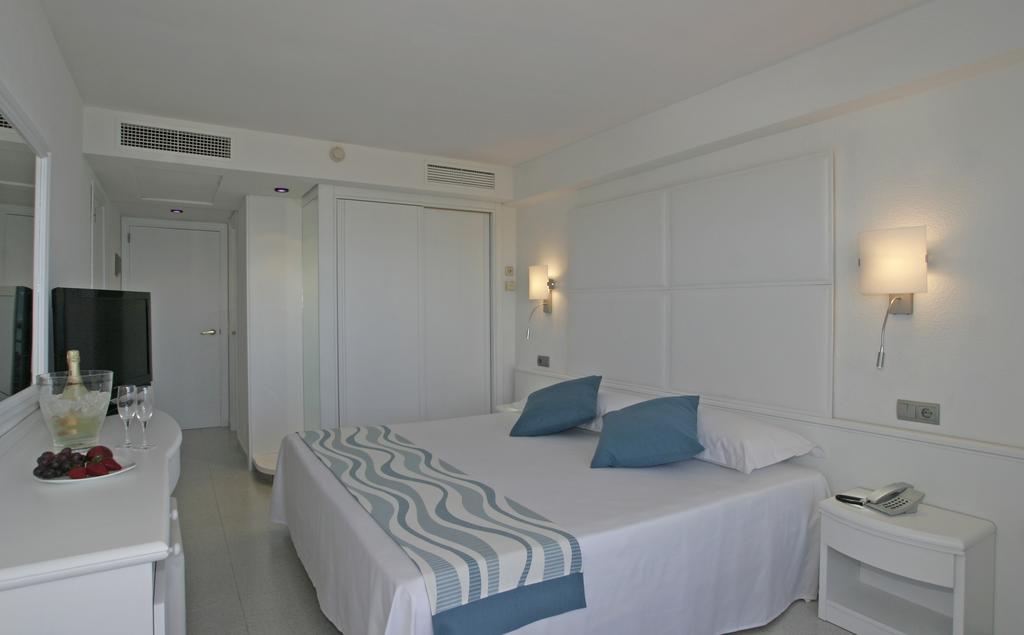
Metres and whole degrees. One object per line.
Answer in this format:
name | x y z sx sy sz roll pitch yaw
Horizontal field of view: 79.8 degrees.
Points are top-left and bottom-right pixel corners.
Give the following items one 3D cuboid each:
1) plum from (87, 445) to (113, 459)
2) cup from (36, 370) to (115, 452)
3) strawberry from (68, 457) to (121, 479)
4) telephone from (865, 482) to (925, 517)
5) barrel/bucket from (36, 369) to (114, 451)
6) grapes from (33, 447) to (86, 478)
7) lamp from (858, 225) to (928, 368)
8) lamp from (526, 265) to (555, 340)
plum | -1.845 0.603 2.739 0.069 0.037 0.079 9 0 -16
cup | -2.085 0.473 2.942 0.305 0.349 0.308 -14 2 1
strawberry | -1.822 0.644 2.653 0.147 0.067 0.071 -12 49 -43
telephone | 2.162 1.020 3.426 0.229 0.067 0.173 -12 8 -16
barrel/bucket | -2.021 0.417 2.837 0.343 0.387 0.354 -1 -4 0
grapes | -1.939 0.609 2.621 0.160 0.082 0.119 0 -1 32
lamp | 2.212 -0.115 3.578 0.354 0.829 0.160 6 11 32
lamp | 0.265 -0.113 5.791 0.233 0.738 0.207 3 -1 0
